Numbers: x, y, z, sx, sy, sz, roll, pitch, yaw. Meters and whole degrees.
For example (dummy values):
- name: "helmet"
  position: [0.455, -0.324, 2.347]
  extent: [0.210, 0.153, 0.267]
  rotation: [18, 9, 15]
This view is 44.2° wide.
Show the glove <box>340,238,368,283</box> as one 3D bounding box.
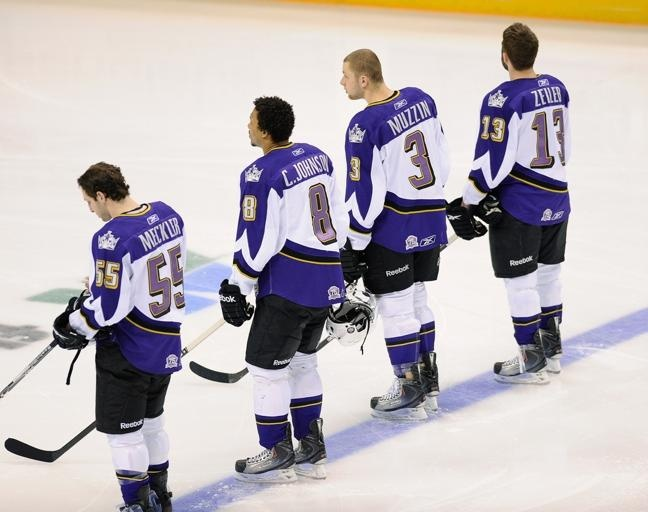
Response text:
- name: "glove"
  position: [0.164, 0.034, 4.325]
  extent: [0.168, 0.217, 0.082]
  rotation: [-4, 4, -41]

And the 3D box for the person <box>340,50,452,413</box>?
- name: "person"
  position: [0.408, -0.110, 4.377]
  extent: [0.620, 1.987, 0.439]
  rotation: [-1, 9, -5]

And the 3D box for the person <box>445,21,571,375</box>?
- name: "person"
  position: [1.114, -0.296, 4.716]
  extent: [0.722, 2.075, 0.375]
  rotation: [0, 9, 3]

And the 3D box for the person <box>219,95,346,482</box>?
- name: "person"
  position: [-0.193, 0.169, 3.833]
  extent: [0.609, 1.819, 0.321]
  rotation: [-1, 9, -3]

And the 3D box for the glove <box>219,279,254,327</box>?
- name: "glove"
  position: [-0.432, 0.224, 3.778]
  extent: [0.165, 0.217, 0.087]
  rotation: [22, 56, 34]

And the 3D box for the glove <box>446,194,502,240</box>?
- name: "glove"
  position: [0.940, -0.250, 4.845]
  extent: [0.303, 0.249, 0.246]
  rotation: [-26, 23, 25]
